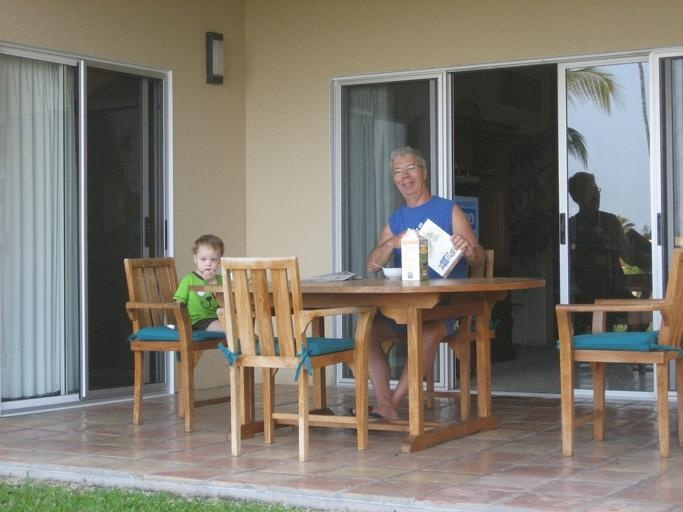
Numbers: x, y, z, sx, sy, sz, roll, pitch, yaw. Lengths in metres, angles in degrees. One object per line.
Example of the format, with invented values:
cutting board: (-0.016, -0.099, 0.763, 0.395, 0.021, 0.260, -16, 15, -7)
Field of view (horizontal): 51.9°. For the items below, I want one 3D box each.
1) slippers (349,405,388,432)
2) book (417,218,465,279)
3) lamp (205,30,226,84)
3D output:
slippers: (0.104, 0.994, 4.341, 0.316, 0.088, 0.116, 8, 3, 25)
book: (0.592, -0.049, 4.270, 0.355, 0.267, 0.095, 45, 17, 25)
lamp: (-1.111, -1.765, 6.213, 0.058, 0.426, 0.240, 9, 15, 29)
